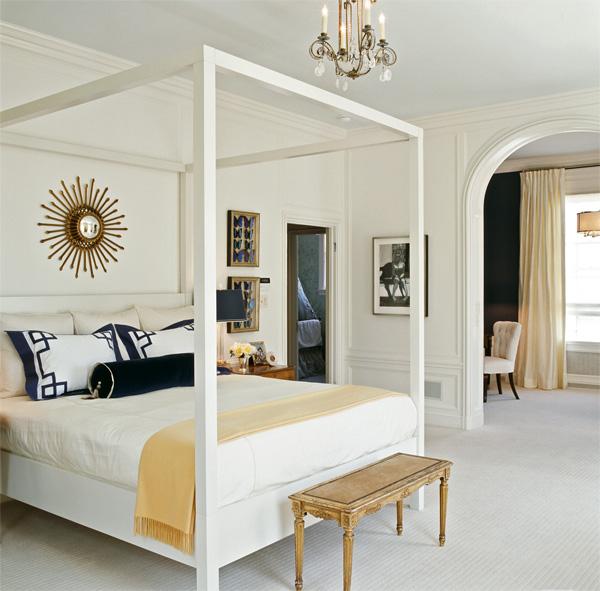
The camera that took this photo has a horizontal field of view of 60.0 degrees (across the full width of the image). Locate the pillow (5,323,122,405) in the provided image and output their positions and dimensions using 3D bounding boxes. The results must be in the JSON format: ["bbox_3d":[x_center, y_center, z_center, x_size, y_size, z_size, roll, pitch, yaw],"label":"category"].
[{"bbox_3d":[-1.491,0.416,3.251,0.150,0.445,0.552,-22,-18,41],"label":"pillow"}]

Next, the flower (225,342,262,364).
[{"bbox_3d":[-0.536,0.527,4.805,0.215,0.177,0.235,2,4,0],"label":"flower"}]

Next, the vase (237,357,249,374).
[{"bbox_3d":[-0.523,0.647,4.811,0.117,0.151,0.138,0,-4,-5],"label":"vase"}]

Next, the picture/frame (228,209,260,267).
[{"bbox_3d":[-0.583,-0.595,5.243,0.061,0.692,0.542,-1,-3,30],"label":"picture/frame"}]

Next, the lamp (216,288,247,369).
[{"bbox_3d":[-0.724,0.295,4.672,0.382,0.640,0.396,2,-2,-21],"label":"lamp"}]

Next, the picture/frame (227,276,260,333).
[{"bbox_3d":[-0.568,0.085,5.364,0.412,0.573,0.058,-2,-4,35],"label":"picture/frame"}]

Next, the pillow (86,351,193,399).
[{"bbox_3d":[-0.989,0.499,3.336,0.161,0.203,0.649,-26,-15,28],"label":"pillow"}]

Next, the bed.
[{"bbox_3d":[-0.560,0.046,3.736,2.397,3.107,2.617,-1,1,45],"label":"bed"}]

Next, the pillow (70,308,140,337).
[{"bbox_3d":[-1.453,0.104,3.843,0.138,0.292,0.398,-30,-17,36],"label":"pillow"}]

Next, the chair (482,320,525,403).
[{"bbox_3d":[2.722,0.907,7.303,0.603,1.105,0.628,1,2,-2],"label":"chair"}]
